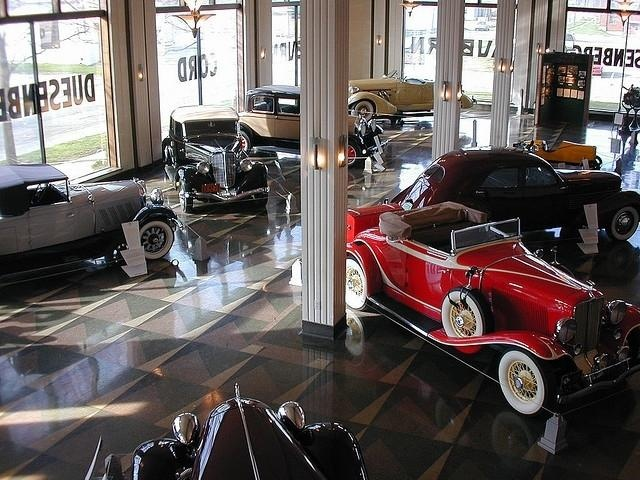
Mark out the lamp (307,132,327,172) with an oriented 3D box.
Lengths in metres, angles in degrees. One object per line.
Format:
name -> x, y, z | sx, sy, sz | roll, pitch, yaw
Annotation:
lamp -> -0.028, -1.014, 5.299 | 0.232, 0.389, 0.080 | 1, 15, 8

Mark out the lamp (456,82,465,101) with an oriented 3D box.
lamp -> 2.957, -3.152, 9.508 | 0.044, 0.393, 0.193 | 12, 20, 42

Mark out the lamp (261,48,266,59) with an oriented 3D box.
lamp -> -2.089, -6.834, 16.450 | 0.072, 0.367, 0.251 | 10, 19, 37

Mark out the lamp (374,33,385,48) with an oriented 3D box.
lamp -> 2.684, -8.966, 20.200 | 0.707, 0.688, 0.381 | 1, 18, 3

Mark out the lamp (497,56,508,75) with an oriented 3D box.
lamp -> 5.016, -4.747, 12.225 | 0.340, 0.415, 0.126 | -1, 15, 0

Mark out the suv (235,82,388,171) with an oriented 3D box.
suv -> -0.847, -3.429, 13.803 | 4.544, 1.842, 1.777 | 7, 18, 1
